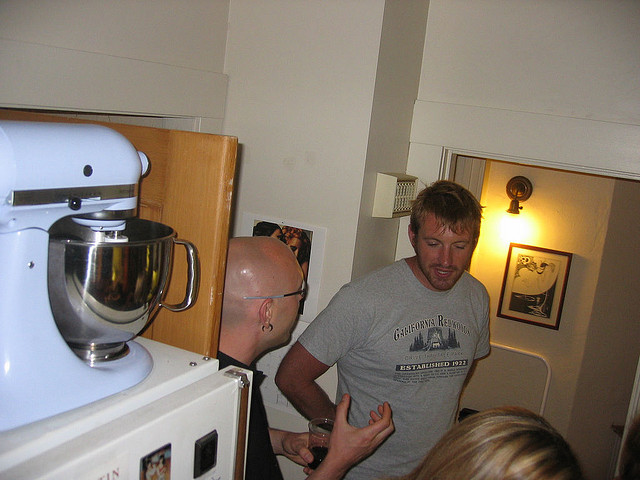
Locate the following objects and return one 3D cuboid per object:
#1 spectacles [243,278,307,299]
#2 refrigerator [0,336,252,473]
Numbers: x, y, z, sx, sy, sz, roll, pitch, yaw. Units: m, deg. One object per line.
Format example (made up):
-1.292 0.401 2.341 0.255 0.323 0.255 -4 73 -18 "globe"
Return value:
-0.100 0.142 1.393 0.070 0.038 0.256 12 11 38 "spectacles"
-0.323 0.274 0.888 0.283 0.230 0.283 2 -1 37 "refrigerator"
